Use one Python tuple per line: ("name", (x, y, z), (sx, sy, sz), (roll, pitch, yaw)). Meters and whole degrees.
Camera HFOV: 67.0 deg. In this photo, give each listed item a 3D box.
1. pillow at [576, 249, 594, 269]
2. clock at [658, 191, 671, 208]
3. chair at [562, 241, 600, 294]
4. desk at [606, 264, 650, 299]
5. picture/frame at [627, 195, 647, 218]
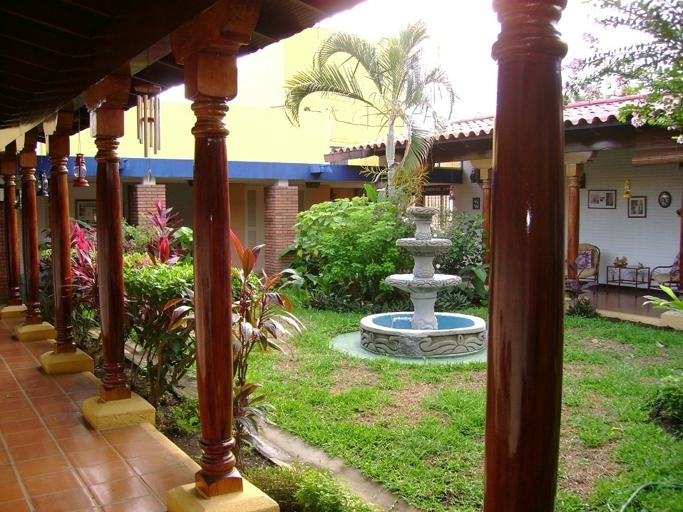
("pillow", (6.386, 0.097, 13.570), (0.502, 0.611, 0.236), (3, -1, 5))
("clock", (8.150, -1.430, 13.031), (0.073, 0.406, 0.316), (-6, 8, -30))
("chair", (6.313, 0.282, 13.661), (0.918, 1.229, 1.139), (-3, 8, 25))
("desk", (7.447, 0.570, 13.573), (0.599, 0.754, 1.068), (1, 0, -33))
("picture/frame", (7.750, -1.307, 13.522), (0.057, 0.708, 0.594), (5, -3, -31))
